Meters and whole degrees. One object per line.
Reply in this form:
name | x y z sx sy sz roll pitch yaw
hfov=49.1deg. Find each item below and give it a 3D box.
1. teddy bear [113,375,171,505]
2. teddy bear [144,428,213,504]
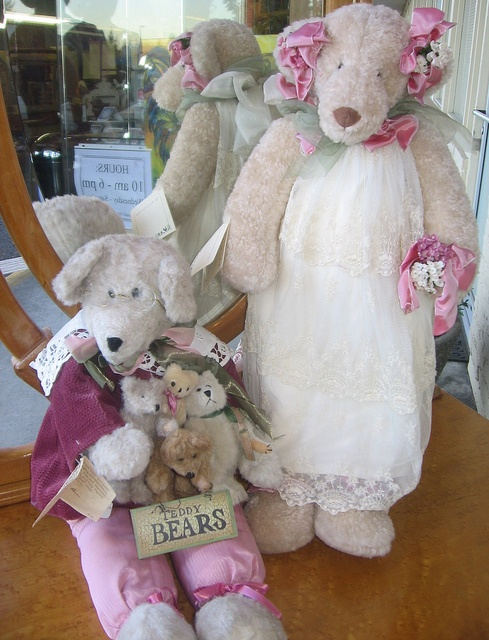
teddy bear | -0.159 0.190 0.894 0.100 0.189 0.077 -8 20 -32
teddy bear | -0.109 0.236 0.867 0.101 0.121 0.089 -3 43 -26
